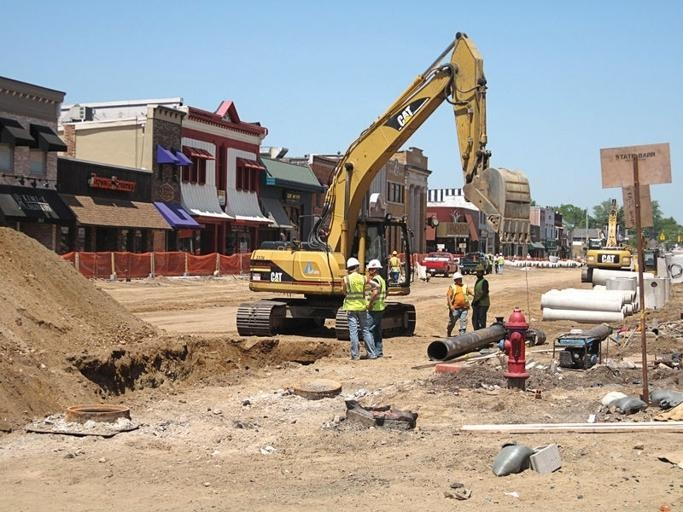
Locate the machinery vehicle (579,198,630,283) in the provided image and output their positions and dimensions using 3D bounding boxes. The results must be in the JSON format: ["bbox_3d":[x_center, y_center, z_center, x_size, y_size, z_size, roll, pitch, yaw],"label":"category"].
[{"bbox_3d":[16.464,-1.029,49.661,2.366,4.731,8.356,2,3,19],"label":"machinery vehicle"}]

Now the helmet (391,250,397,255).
[{"bbox_3d":[2.061,-0.116,31.798,0.145,0.238,0.150,2,8,-1],"label":"helmet"}]

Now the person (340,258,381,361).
[{"bbox_3d":[0.525,1.103,18.223,0.756,2.455,0.689,8,24,27],"label":"person"}]

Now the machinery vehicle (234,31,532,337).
[{"bbox_3d":[1.089,-1.462,19.656,7.376,6.875,3.423,1,0,42],"label":"machinery vehicle"}]

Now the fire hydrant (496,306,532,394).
[{"bbox_3d":[2.986,1.629,14.016,0.477,1.380,0.643,0,-1,11],"label":"fire hydrant"}]
